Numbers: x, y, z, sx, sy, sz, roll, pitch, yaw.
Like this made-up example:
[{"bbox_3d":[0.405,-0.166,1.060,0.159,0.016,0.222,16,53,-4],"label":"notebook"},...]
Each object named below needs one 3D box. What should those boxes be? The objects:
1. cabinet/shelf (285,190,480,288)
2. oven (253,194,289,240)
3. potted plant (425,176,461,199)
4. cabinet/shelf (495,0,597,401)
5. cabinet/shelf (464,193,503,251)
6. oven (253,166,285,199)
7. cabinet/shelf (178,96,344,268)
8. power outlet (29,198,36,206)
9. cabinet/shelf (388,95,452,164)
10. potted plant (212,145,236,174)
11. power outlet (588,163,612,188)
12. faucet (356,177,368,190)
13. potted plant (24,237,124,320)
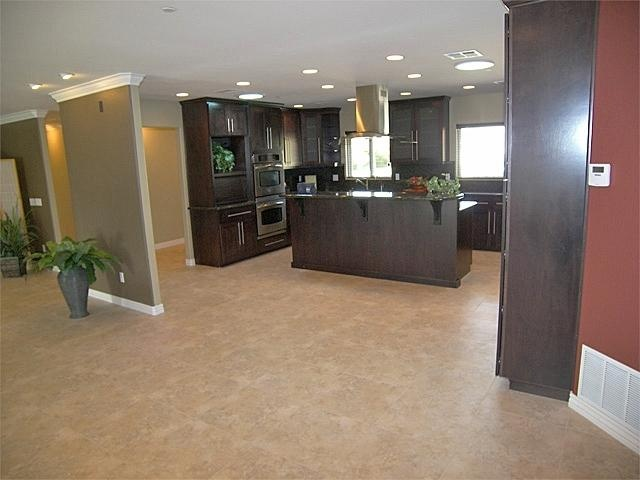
[{"bbox_3d":[0.768,-0.045,6.306,2.484,1.252,0.529,2,12,29],"label":"cabinet/shelf"},{"bbox_3d":[-1.067,-0.444,8.280,0.530,0.705,0.765,7,17,37],"label":"oven"},{"bbox_3d":[1.625,-0.690,5.768,0.398,0.266,0.617,2,11,27],"label":"potted plant"},{"bbox_3d":[1.649,-0.219,3.237,0.571,2.926,0.206,1,11,23],"label":"cabinet/shelf"},{"bbox_3d":[2.658,-0.317,7.080,0.931,0.934,0.382,1,6,24],"label":"cabinet/shelf"},{"bbox_3d":[-0.984,-1.061,8.063,0.349,0.484,0.663,1,11,23],"label":"oven"},{"bbox_3d":[-1.161,-1.127,8.589,1.093,2.683,2.987,5,13,31],"label":"cabinet/shelf"},{"bbox_3d":[-5.064,-0.653,7.665,0.148,0.143,0.037,6,13,21],"label":"power outlet"},{"bbox_3d":[1.847,-2.033,7.910,1.093,1.092,0.438,3,9,27],"label":"cabinet/shelf"},{"bbox_3d":[-1.662,-1.367,7.522,0.434,0.508,0.519,1,11,9],"label":"potted plant"},{"bbox_3d":[1.905,-0.439,2.958,0.028,0.210,0.176,-1,2,-32],"label":"power outlet"},{"bbox_3d":[0.854,-1.139,8.955,0.199,0.256,0.431,-10,12,-35],"label":"faucet"},{"bbox_3d":[-3.108,0.515,5.427,0.867,0.928,0.983,-14,-1,35],"label":"potted plant"}]
